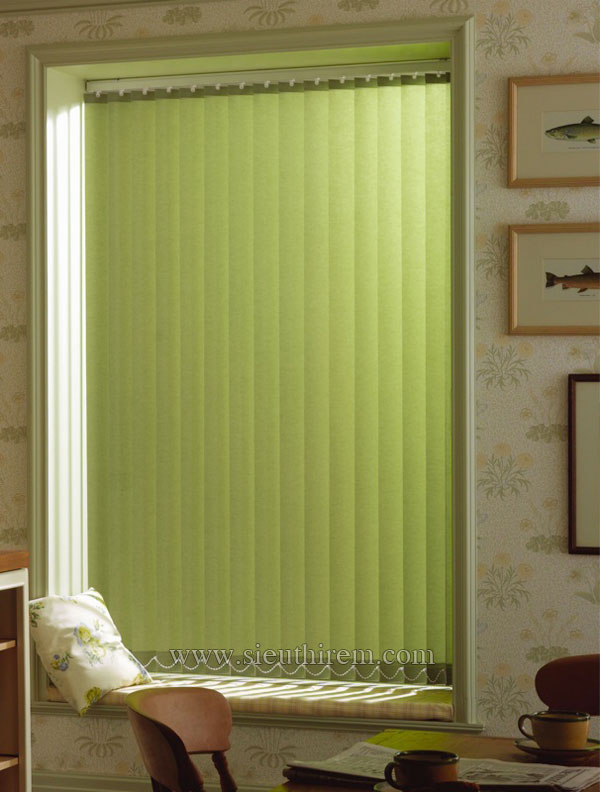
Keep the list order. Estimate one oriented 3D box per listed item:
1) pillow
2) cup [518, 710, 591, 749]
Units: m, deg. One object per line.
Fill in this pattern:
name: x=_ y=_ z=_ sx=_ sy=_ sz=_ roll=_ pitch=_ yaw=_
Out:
pillow: x=-0.693 y=0.826 z=3.049 sx=0.294 sy=0.371 sz=0.219 roll=0 pitch=0 yaw=-39
cup: x=0.464 y=0.607 z=1.694 sx=0.104 sy=0.045 sz=0.078 roll=-1 pitch=-6 yaw=12
